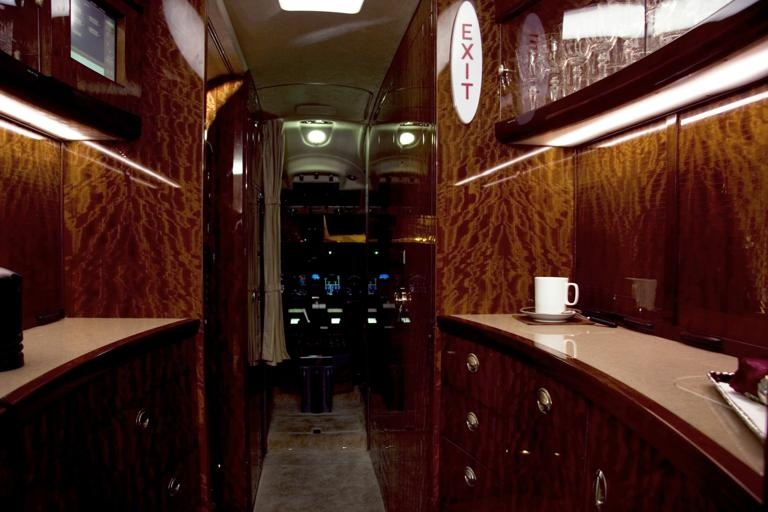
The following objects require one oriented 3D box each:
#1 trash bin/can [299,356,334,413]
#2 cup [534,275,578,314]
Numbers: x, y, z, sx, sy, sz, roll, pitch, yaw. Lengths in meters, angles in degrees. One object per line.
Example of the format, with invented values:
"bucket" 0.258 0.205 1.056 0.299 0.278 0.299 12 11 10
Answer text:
"trash bin/can" -0.567 1.118 4.747 0.382 0.623 0.380 0 -4 -9
"cup" 0.729 0.169 2.332 0.156 0.162 0.090 1 -4 4
